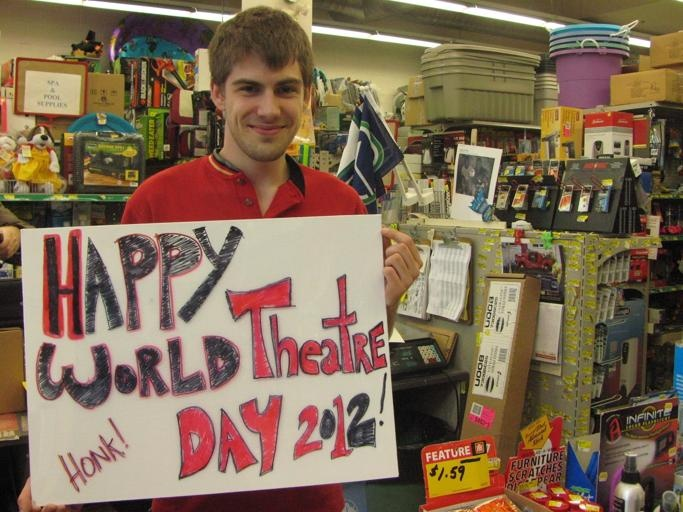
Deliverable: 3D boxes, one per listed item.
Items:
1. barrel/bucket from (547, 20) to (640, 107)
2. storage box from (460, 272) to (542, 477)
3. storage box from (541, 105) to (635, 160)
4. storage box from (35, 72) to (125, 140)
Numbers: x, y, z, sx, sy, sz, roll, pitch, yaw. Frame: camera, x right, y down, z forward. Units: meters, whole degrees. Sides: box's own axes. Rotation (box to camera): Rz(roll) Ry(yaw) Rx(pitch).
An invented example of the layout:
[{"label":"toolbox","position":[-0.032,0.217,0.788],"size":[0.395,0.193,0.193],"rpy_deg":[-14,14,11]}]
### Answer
[{"label":"barrel/bucket","position":[2.317,-1.736,5.465],"size":[0.799,0.746,0.683],"rpy_deg":[1,7,5]},{"label":"storage box","position":[0.770,0.538,2.855],"size":[0.282,0.902,0.234],"rpy_deg":[-1,4,-32]},{"label":"storage box","position":[1.908,-0.947,4.569],"size":[0.687,0.431,0.445],"rpy_deg":[2,4,8]},{"label":"storage box","position":[-1.893,-1.143,4.370],"size":[0.559,0.500,0.523],"rpy_deg":[-1,5,-17]}]
